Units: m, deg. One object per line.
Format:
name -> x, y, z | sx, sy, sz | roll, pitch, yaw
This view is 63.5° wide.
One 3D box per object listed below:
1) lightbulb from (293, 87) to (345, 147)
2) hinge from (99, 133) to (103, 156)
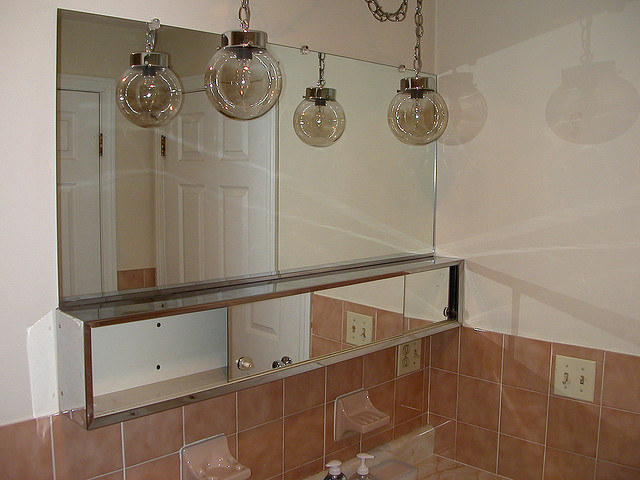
lightbulb -> -0.017, -0.363, 1.572 | 0.123, 0.122, 0.190 | -6, -74, -39
hinge -> -0.556, -0.241, 1.305 | 0.007, 0.008, 0.051 | 2, -78, 0
